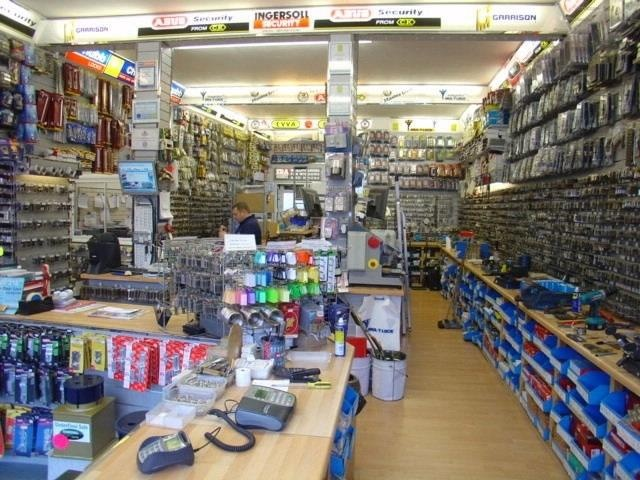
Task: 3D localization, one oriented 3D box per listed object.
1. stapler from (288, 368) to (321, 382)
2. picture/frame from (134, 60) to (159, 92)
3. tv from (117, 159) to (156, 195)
[{"bbox_3d":[-0.099,0.920,3.393,0.254,0.103,0.075,1,3,-16],"label":"stapler"},{"bbox_3d":[-2.537,-2.422,7.219,0.435,0.515,0.085,2,9,12],"label":"picture/frame"},{"bbox_3d":[-2.627,-0.922,7.102,0.505,0.475,0.073,2,10,9],"label":"tv"}]
